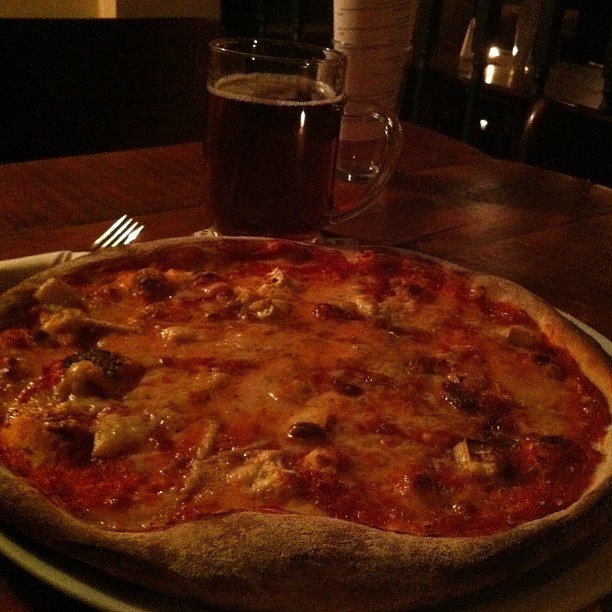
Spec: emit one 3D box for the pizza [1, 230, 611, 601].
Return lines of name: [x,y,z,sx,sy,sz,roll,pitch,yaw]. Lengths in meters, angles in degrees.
pizza: [0.009,0.044,0.541,0.538,0.074,0.452,0,24,-11]

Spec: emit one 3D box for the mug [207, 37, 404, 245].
mug: [-0.006,-0.197,0.822,0.272,0.220,0.150,3,16,-13]

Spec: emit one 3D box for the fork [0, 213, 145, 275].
fork: [-0.216,-0.072,0.713,0.279,0.028,0.030,-13,-1,-31]
